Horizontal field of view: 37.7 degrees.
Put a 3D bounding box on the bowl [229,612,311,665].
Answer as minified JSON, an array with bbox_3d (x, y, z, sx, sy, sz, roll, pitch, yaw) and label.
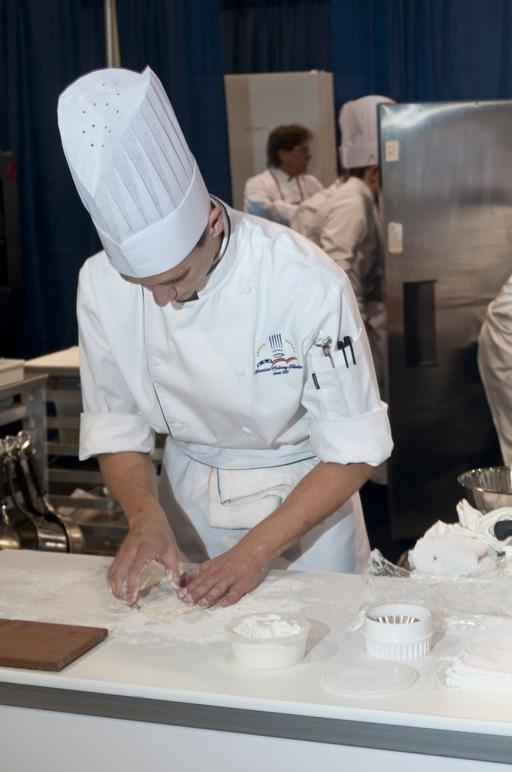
[{"bbox_3d":[0.016,0.278,0.820,0.085,0.040,0.089,-4,7,0],"label":"bowl"}]
